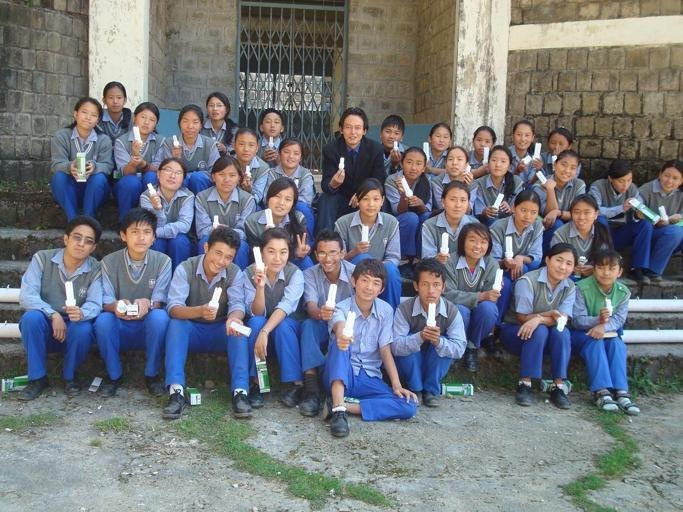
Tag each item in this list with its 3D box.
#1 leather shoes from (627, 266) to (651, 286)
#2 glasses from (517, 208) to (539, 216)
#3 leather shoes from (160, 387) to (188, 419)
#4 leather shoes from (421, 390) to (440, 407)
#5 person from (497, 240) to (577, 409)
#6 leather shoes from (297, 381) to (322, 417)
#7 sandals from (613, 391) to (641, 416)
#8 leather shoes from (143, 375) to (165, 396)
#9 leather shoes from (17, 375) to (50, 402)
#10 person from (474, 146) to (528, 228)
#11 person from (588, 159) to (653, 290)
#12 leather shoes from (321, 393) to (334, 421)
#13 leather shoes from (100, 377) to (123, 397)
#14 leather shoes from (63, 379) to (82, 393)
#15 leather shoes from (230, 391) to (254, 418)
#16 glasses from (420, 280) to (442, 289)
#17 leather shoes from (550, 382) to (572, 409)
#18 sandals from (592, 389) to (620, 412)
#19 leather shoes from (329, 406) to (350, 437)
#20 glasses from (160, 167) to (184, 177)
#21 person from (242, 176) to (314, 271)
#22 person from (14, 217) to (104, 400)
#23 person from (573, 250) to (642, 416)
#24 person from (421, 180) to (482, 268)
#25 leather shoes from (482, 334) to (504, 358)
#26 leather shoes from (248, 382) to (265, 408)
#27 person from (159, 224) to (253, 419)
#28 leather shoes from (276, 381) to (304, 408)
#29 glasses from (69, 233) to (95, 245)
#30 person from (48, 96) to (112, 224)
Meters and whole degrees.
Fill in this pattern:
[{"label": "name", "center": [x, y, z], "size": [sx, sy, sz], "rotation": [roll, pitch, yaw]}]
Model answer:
[{"label": "leather shoes", "center": [2.653, 0.176, 6.015], "size": [0.078, 0.086, 0.213], "rotation": [-10, 25, -14]}, {"label": "glasses", "center": [1.534, -0.361, 5.522], "size": [0.170, 0.059, 0.063], "rotation": [0, 7, -21]}, {"label": "leather shoes", "center": [-1.121, 0.991, 4.500], "size": [0.082, 0.094, 0.227], "rotation": [3, 0, 0]}, {"label": "leather shoes", "center": [0.636, 1.023, 4.846], "size": [0.124, 0.095, 0.092], "rotation": [2, 7, 0]}, {"label": "person", "center": [1.478, 0.490, 5.071], "size": [0.550, 1.165, 0.492], "rotation": [4, 7, 13]}, {"label": "leather shoes", "center": [-0.211, 1.015, 4.724], "size": [0.138, 0.132, 0.348], "rotation": [6, 5, 6]}, {"label": "sandals", "center": [2.080, 1.071, 4.936], "size": [0.089, 0.098, 0.243], "rotation": [-1, 9, -9]}, {"label": "leather shoes", "center": [-1.361, 0.938, 4.830], "size": [0.085, 0.138, 0.219], "rotation": [2, -5, -32]}, {"label": "leather shoes", "center": [-2.138, 0.904, 4.674], "size": [0.102, 0.128, 0.195], "rotation": [4, 7, 11]}, {"label": "person", "center": [1.394, -0.610, 6.134], "size": [0.523, 0.768, 0.439], "rotation": [7, -7, -33]}, {"label": "person", "center": [2.555, -0.329, 6.219], "size": [0.493, 1.075, 0.637], "rotation": [-5, 13, -12]}, {"label": "leather shoes", "center": [-0.101, 1.021, 4.571], "size": [0.063, 0.161, 0.054], "rotation": [-22, 37, -31]}, {"label": "leather shoes", "center": [-1.642, 0.922, 4.794], "size": [0.097, 0.089, 0.204], "rotation": [2, 7, -3]}, {"label": "leather shoes", "center": [-1.903, 0.916, 4.765], "size": [0.110, 0.080, 0.103], "rotation": [-2, 8, -33]}, {"label": "leather shoes", "center": [-0.675, 1.000, 4.579], "size": [0.137, 0.152, 0.155], "rotation": [1, 7, -9]}, {"label": "glasses", "center": [0.633, 0.193, 4.804], "size": [0.157, 0.056, 0.048], "rotation": [2, 7, 0]}, {"label": "leather shoes", "center": [1.640, 1.012, 5.038], "size": [0.151, 0.158, 0.310], "rotation": [5, 7, 19]}, {"label": "sandals", "center": [1.940, 1.052, 4.921], "size": [0.084, 0.085, 0.212], "rotation": [-2, 1, -4]}, {"label": "leather shoes", "center": [-0.016, 1.082, 4.403], "size": [0.076, 0.089, 0.209], "rotation": [2, 6, -5]}, {"label": "glasses", "center": [-1.394, -0.681, 5.500], "size": [0.181, 0.071, 0.072], "rotation": [0, 7, -16]}, {"label": "person", "center": [-0.509, -0.226, 5.308], "size": [0.531, 0.747, 0.560], "rotation": [9, -2, 8]}, {"label": "person", "center": [-2.004, 0.332, 4.816], "size": [0.548, 1.235, 0.459], "rotation": [-1, 8, -26]}, {"label": "person", "center": [1.982, 0.533, 5.061], "size": [0.475, 1.132, 0.523], "rotation": [4, 7, 14]}, {"label": "person", "center": [0.900, -0.227, 5.495], "size": [0.483, 0.759, 0.488], "rotation": [-4, 33, -8]}, {"label": "leather shoes", "center": [1.192, 0.703, 5.300], "size": [0.087, 0.112, 0.259], "rotation": [1, 4, -16]}, {"label": "leather shoes", "center": [-0.599, 0.964, 4.705], "size": [0.134, 0.157, 0.371], "rotation": [1, -7, -6]}, {"label": "person", "center": [-0.937, 0.425, 4.709], "size": [0.578, 1.235, 0.685], "rotation": [0, 7, -14]}, {"label": "leather shoes", "center": [-0.361, 0.981, 4.810], "size": [0.096, 0.097, 0.231], "rotation": [25, 1, 1]}, {"label": "glasses", "center": [-1.859, -0.123, 4.812], "size": [0.196, 0.101, 0.074], "rotation": [0, 7, -20]}, {"label": "person", "center": [-2.280, -0.861, 5.969], "size": [0.543, 1.061, 0.551], "rotation": [6, 8, 29]}]
